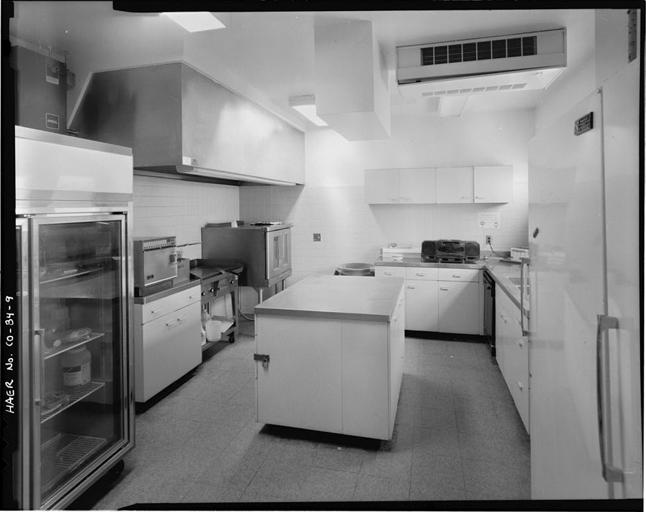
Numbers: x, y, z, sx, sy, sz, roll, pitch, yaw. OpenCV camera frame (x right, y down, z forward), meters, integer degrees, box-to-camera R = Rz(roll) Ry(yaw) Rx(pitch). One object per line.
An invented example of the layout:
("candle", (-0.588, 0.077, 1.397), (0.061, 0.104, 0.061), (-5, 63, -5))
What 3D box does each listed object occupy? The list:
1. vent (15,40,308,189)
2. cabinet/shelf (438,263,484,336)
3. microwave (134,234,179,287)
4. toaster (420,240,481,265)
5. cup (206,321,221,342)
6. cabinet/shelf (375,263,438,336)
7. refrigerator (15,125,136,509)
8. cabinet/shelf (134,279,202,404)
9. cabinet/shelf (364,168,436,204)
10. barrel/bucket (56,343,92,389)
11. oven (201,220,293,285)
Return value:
("vent", (-1.014, -0.916, 3.243), (0.359, 0.685, 1.554), (-7, -4, 38))
("cabinet/shelf", (1.258, 0.496, 4.432), (0.451, 0.662, 0.448), (-9, -37, 32))
("microwave", (-1.114, 0.030, 3.146), (0.206, 0.315, 0.372), (5, 9, 16))
("toaster", (1.158, -0.047, 4.443), (0.499, 0.193, 0.141), (2, 11, 13))
("cup", (-0.851, 0.588, 3.890), (0.133, 0.127, 0.110), (-1, 1, 4))
("cabinet/shelf", (0.795, 0.403, 4.583), (0.609, 0.650, 0.434), (1, -3, 12))
("refrigerator", (-1.098, 0.251, 2.164), (0.258, 1.592, 0.757), (2, 10, 12))
("cabinet/shelf", (-1.133, 0.552, 3.284), (0.383, 0.713, 0.752), (2, 6, 13))
("cabinet/shelf", (0.744, -0.680, 4.688), (0.674, 0.328, 0.158), (1, 10, 8))
("barrel/bucket", (-1.178, 0.534, 2.321), (0.137, 0.230, 0.128), (-1, 2, 0))
("oven", (-0.700, -0.037, 4.964), (0.625, 0.602, 0.963), (0, 5, 8))
